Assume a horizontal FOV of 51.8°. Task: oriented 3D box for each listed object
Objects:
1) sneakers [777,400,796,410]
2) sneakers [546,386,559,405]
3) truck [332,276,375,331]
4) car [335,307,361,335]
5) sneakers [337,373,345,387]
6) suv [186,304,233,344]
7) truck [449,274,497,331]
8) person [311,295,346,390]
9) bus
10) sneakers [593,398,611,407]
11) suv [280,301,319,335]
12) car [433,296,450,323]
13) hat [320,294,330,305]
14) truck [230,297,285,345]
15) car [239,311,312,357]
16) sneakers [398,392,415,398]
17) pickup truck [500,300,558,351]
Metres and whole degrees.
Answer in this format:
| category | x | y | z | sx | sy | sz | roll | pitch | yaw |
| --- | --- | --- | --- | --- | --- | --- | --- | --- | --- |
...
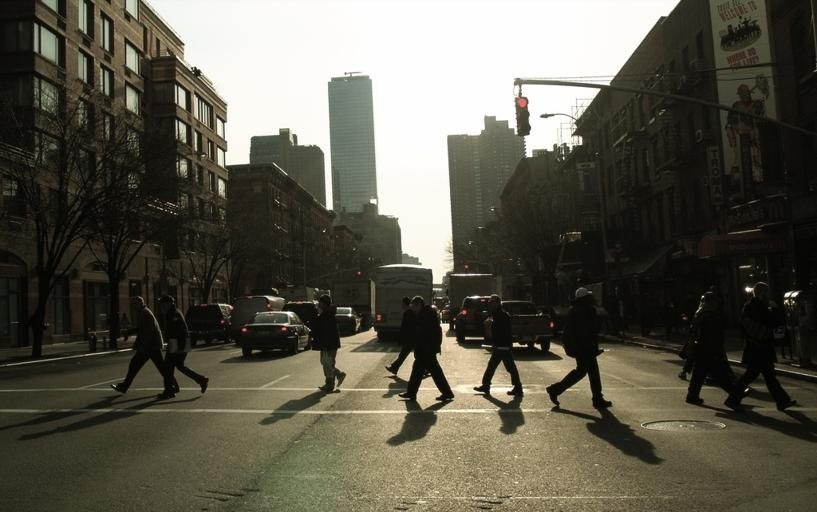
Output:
| category | x | y | z | sx | sy | sz | roll | pitch | yaw |
| --- | --- | --- | --- | --- | --- | --- | --- | --- | --- |
| sneakers | 10.086 | 3.961 | 22.495 | 0.499 | 0.240 | 0.170 | -15 | 4 | -17 |
| sneakers | 4.043 | 3.874 | 23.654 | 0.253 | 0.581 | 0.251 | -10 | -9 | 3 |
| truck | -3.829 | 3.309 | 60.650 | 2.338 | 2.817 | 4.805 | -1 | -11 | -1 |
| car | -3.891 | 4.063 | 53.255 | 1.352 | 1.130 | 3.266 | 0 | -1 | 3 |
| sneakers | -2.132 | 3.833 | 26.283 | 0.139 | 0.427 | 0.275 | 10 | 5 | -38 |
| suv | -10.667 | 3.597 | 46.304 | 1.762 | 1.619 | 3.235 | -1 | -1 | 5 |
| truck | 3.462 | 2.383 | 46.063 | 3.159 | 3.752 | 6.273 | -1 | -3 | 0 |
| person | -2.502 | 2.640 | 26.180 | 0.883 | 2.943 | 1.574 | -1 | 5 | -5 |
| bus | -0.337 | 2.151 | 45.648 | 2.319 | 2.800 | 4.455 | 0 | -3 | 2 |
| sneakers | 5.366 | 4.021 | 23.183 | 0.518 | 0.213 | 0.291 | -3 | 5 | -21 |
| suv | -6.085 | 2.969 | 47.484 | 1.853 | 1.873 | 4.107 | 1 | -2 | 3 |
| car | 3.528 | 6.025 | 93.543 | 2.049 | 2.014 | 3.615 | 0 | -1 | 4 |
| hat | -2.635 | 1.325 | 26.138 | 0.250 | 0.312 | 0.325 | 6 | 6 | 14 |
| truck | -8.284 | 3.137 | 45.795 | 1.812 | 1.644 | 3.039 | -2 | -2 | 8 |
| car | -5.676 | 3.347 | 36.093 | 1.786 | 1.403 | 4.165 | 0 | -2 | 4 |
| sneakers | -0.038 | 4.087 | 24.665 | 0.508 | 0.246 | 0.187 | 4 | -6 | 26 |
| pickup truck | 5.366 | 3.105 | 37.958 | 1.671 | 1.473 | 3.463 | 1 | -1 | -2 |
